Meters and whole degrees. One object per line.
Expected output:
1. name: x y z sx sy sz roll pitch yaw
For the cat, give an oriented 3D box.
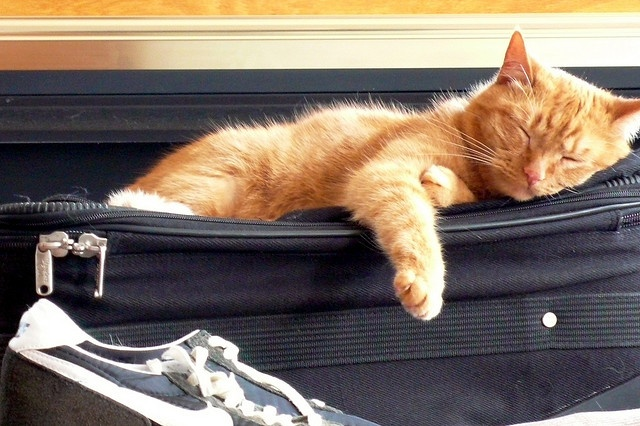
1. cat: 0.051 -0.046 1.838 1.156 0.399 0.702 -1 -4 30
